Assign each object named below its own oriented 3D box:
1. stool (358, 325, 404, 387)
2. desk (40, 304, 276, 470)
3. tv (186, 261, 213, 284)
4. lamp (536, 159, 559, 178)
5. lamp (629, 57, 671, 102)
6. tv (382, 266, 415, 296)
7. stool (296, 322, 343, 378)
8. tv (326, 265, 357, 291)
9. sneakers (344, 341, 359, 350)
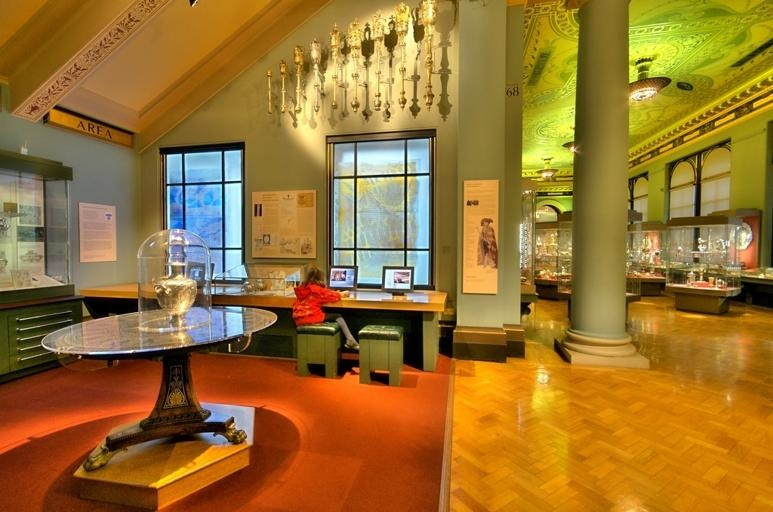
[{"bbox_3d":[-0.094,1.514,7.951,0.781,0.828,0.780,-1,0,8],"label":"stool"},{"bbox_3d":[-2.795,1.777,6.744,2.541,1.537,2.665,-15,-16,29],"label":"desk"},{"bbox_3d":[-2.522,0.218,6.939,0.300,0.269,0.246,0,3,-4],"label":"tv"},{"bbox_3d":[5.612,-3.019,17.704,0.647,0.552,0.643,0,-4,-2],"label":"lamp"},{"bbox_3d":[5.542,-3.861,10.948,1.006,0.860,0.981,-1,10,9],"label":"lamp"},{"bbox_3d":[0.193,0.411,8.592,0.440,0.441,0.167,1,-12,9],"label":"tv"},{"bbox_3d":[-1.081,1.459,8.340,0.762,0.805,0.777,-1,-1,5],"label":"stool"},{"bbox_3d":[-0.741,0.364,8.931,0.665,0.551,0.345,1,1,5],"label":"tv"},{"bbox_3d":[-0.539,1.494,8.409,0.293,0.120,0.167,-2,3,-27],"label":"sneakers"}]
